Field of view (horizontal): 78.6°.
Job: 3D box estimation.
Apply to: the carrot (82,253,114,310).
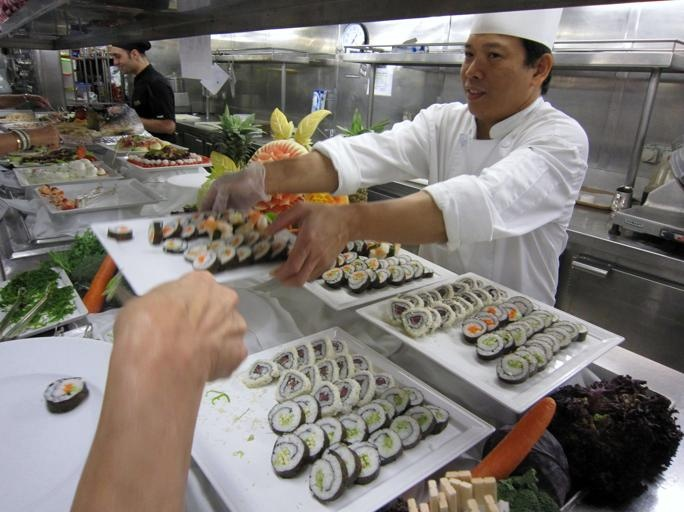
[{"bbox_3d":[-0.788,0.088,1.345,0.041,0.181,0.045,23,4,16],"label":"carrot"}]
